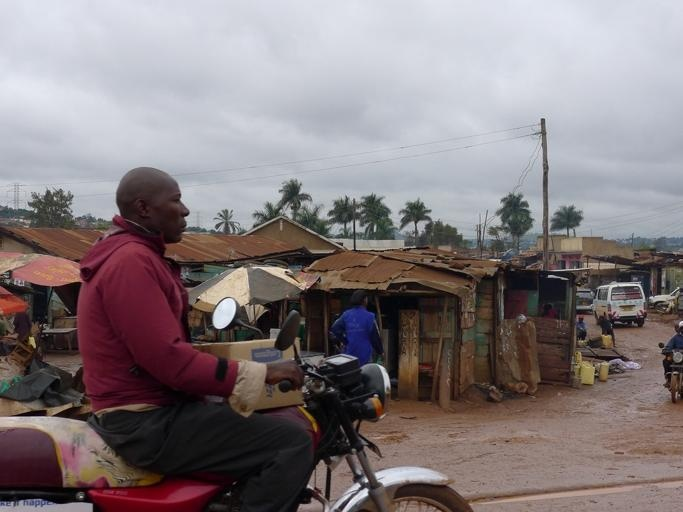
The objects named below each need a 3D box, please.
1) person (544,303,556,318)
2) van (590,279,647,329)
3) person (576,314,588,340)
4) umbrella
[{"bbox_3d":[5.738,1.460,17.244,0.303,0.400,0.872,1,-5,19],"label":"person"},{"bbox_3d":[11.889,2.034,26.691,1.703,1.764,2.105,1,-5,17],"label":"van"},{"bbox_3d":[7.156,2.123,18.671,0.225,0.752,1.379,2,-5,18],"label":"person"},{"bbox_3d":[-1.849,0.601,11.528,1.443,0.551,1.468,-12,4,38],"label":"umbrella"}]
